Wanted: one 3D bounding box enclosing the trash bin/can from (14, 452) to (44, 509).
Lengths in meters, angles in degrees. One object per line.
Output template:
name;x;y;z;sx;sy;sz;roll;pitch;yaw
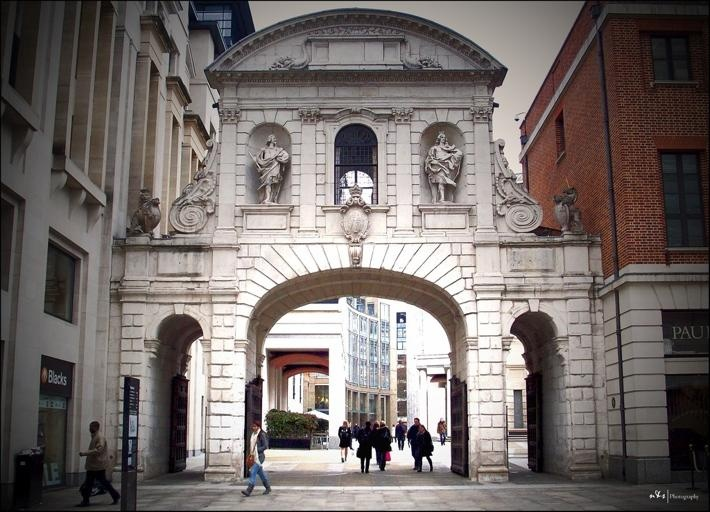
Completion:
trash bin/can;-9.809;6.773;23.266;0.688;1.905;1.192;-6;-10;10

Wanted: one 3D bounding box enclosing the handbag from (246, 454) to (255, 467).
handbag;-3.365;6.534;24.687;0.281;0.395;0.122;7;0;-44

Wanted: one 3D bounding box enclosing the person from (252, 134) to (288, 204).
person;-3.304;-3.485;30.944;1.414;3.084;0.934;1;-16;-5

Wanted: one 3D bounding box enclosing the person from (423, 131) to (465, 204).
person;3.544;-3.446;30.814;1.450;2.838;0.761;1;-16;-5
